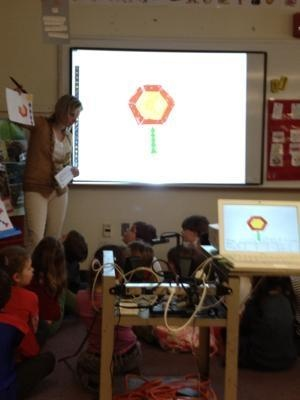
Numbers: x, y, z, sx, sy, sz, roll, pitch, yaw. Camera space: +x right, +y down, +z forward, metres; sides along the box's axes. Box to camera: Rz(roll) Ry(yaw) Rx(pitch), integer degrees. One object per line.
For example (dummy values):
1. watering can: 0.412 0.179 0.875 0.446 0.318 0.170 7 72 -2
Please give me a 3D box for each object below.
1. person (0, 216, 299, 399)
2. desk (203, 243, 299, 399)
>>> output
1. person: -0.004 0.526 1.688 0.851 0.658 0.433 0 -11 3
2. desk: 0.283 0.440 1.462 0.335 0.614 0.494 0 1 0
